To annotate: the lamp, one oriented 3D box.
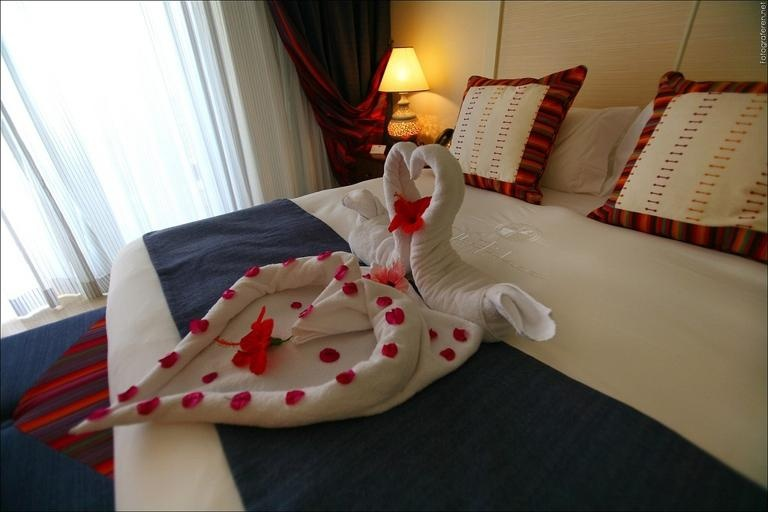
[{"bbox_3d":[0.192,-1.273,3.398,0.380,0.646,0.561,4,32,5],"label":"lamp"}]
